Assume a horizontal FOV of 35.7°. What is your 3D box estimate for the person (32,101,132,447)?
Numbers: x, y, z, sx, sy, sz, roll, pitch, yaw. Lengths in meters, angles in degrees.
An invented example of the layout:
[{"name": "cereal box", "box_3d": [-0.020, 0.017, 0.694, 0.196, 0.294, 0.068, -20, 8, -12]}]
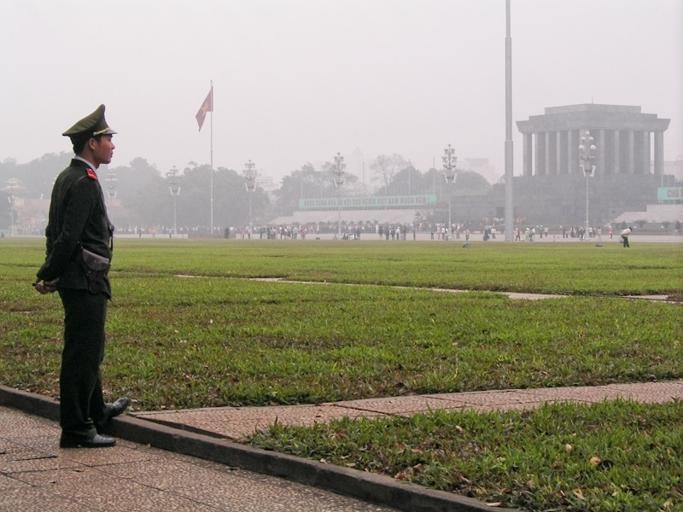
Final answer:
[{"name": "person", "box_3d": [-2.765, 0.190, 10.894, 0.854, 3.451, 1.104, -3, 8, -12]}]
